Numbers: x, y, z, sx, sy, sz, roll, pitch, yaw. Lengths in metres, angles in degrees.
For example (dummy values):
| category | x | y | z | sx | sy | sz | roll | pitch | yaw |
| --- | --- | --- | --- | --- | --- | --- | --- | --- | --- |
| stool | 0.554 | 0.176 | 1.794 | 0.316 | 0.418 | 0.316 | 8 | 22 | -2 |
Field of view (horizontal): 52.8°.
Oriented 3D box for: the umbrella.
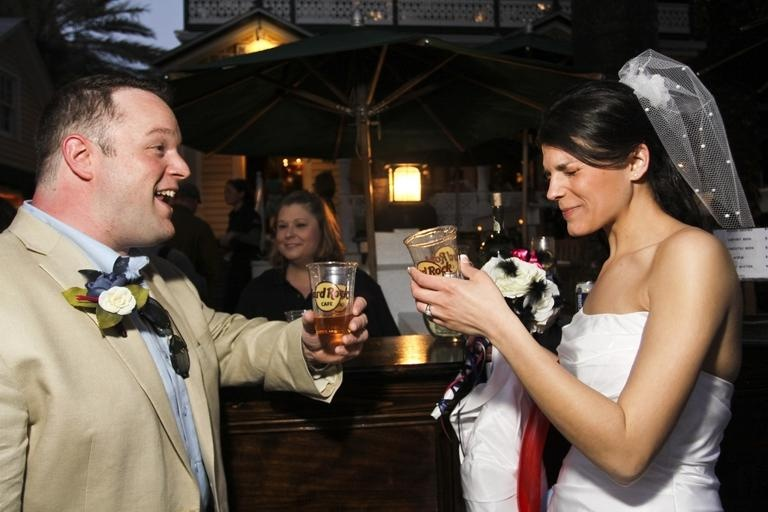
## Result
| category | x | y | z | sx | sy | sz | roll | pitch | yaw |
| --- | --- | --- | --- | --- | --- | --- | --- | --- | --- |
| umbrella | -0.169 | -1.309 | 6.223 | 2.699 | 1.542 | 2.628 | 2 | -7 | -7 |

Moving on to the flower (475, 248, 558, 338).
| category | x | y | z | sx | sy | sz | roll | pitch | yaw |
| --- | --- | --- | --- | --- | --- | --- | --- | --- | --- |
| flower | 0.805 | 0.222 | 4.329 | 0.445 | 0.417 | 0.204 | 26 | -40 | -7 |

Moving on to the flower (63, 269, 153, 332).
| category | x | y | z | sx | sy | sz | roll | pitch | yaw |
| --- | --- | --- | --- | --- | --- | --- | --- | --- | --- |
| flower | -1.329 | 0.217 | 3.706 | 0.385 | 0.282 | 0.177 | -4 | 6 | -20 |

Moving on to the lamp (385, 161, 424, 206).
| category | x | y | z | sx | sy | sz | roll | pitch | yaw |
| --- | --- | --- | --- | --- | --- | --- | --- | --- | --- |
| lamp | 0.304 | -0.977 | 10.306 | 0.498 | 0.460 | 0.481 | 0 | -2 | -11 |

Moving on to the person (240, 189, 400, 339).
| category | x | y | z | sx | sy | sz | roll | pitch | yaw |
| --- | --- | --- | --- | --- | --- | --- | --- | --- | --- |
| person | -0.501 | 0.050 | 6.359 | 1.709 | 1.339 | 0.824 | -3 | -8 | 4 |
